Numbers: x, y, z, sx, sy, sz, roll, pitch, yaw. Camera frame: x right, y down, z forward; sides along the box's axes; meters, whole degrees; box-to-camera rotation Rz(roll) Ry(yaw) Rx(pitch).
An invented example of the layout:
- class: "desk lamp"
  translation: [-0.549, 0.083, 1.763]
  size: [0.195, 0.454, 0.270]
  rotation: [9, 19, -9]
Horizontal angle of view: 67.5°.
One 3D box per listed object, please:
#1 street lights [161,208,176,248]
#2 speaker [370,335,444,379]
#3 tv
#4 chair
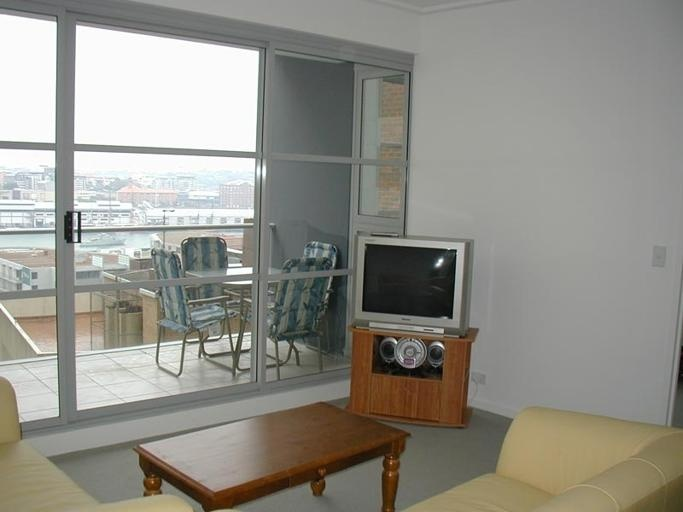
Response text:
- class: "street lights"
  translation: [-1.377, -0.221, 4.067]
  size: [0.024, 0.307, 0.112]
  rotation: [8, 11, 42]
- class: "speaker"
  translation: [0.596, 0.811, 4.265]
  size: [0.622, 0.374, 0.323]
  rotation: [-6, 6, 15]
- class: "tv"
  translation: [0.638, 0.259, 4.574]
  size: [1.012, 0.817, 0.534]
  rotation: [4, 3, 18]
- class: "chair"
  translation: [-0.887, 0.327, 4.580]
  size: [1.312, 0.864, 1.296]
  rotation: [-6, 9, -38]
